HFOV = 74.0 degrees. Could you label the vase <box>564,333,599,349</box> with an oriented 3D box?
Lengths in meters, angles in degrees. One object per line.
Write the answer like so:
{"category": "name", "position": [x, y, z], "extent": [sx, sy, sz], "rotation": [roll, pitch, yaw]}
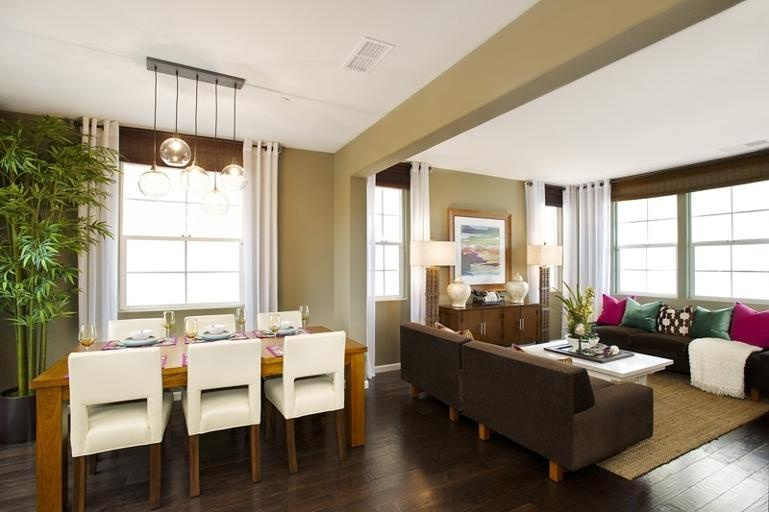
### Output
{"category": "vase", "position": [2.582, 1.124, 6.660], "extent": [0.267, 0.103, 0.267], "rotation": [1, -6, -3]}

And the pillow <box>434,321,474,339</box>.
{"category": "pillow", "position": [0.886, 0.960, 6.439], "extent": [0.472, 0.139, 0.403], "rotation": [8, -6, -16]}

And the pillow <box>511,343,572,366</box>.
{"category": "pillow", "position": [1.977, 1.173, 5.920], "extent": [0.497, 0.148, 0.483], "rotation": [2, 1, -36]}

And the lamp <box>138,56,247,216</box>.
{"category": "lamp", "position": [-2.218, -1.389, 5.773], "extent": [0.402, 1.887, 1.394], "rotation": [-9, -9, 44]}

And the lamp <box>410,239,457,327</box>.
{"category": "lamp", "position": [0.720, 0.380, 7.555], "extent": [0.670, 1.233, 0.385], "rotation": [0, 1, 0]}

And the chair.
{"category": "chair", "position": [-1.654, 1.510, 4.863], "extent": [2.345, 1.477, 0.706], "rotation": [-1, 1, -27]}
